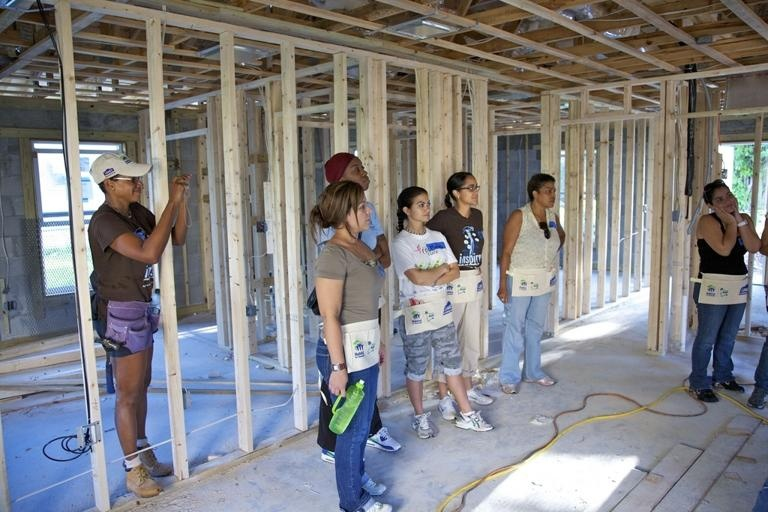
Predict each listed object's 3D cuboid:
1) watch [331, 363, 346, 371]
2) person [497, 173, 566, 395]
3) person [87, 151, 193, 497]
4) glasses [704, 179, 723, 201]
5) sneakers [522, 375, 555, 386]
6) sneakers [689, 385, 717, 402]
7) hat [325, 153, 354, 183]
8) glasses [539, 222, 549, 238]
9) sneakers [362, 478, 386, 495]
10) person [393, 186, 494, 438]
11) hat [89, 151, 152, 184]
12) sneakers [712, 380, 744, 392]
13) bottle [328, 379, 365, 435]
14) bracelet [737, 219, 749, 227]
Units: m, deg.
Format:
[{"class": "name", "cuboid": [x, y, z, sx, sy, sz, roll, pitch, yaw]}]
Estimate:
[{"class": "watch", "cuboid": [-0.306, 0.723, 3.545, 0.074, 0.042, 0.070, -4, -4, 5]}, {"class": "person", "cuboid": [1.469, 0.264, 5.433, 0.848, 2.145, 0.435, -13, 17, -34]}, {"class": "person", "cuboid": [-1.846, 0.494, 4.158, 0.619, 2.539, 0.758, 11, 20, 43]}, {"class": "glasses", "cuboid": [3.105, -0.611, 5.107, 0.169, 0.209, 0.246, 5, 15, 29]}, {"class": "sneakers", "cuboid": [1.593, 1.277, 5.626, 0.273, 0.069, 0.106, -2, 2, 20]}, {"class": "sneakers", "cuboid": [3.078, 1.319, 5.223, 0.111, 0.074, 0.201, -9, 7, -44]}, {"class": "hat", "cuboid": [-0.356, -0.714, 4.378, 0.248, 0.230, 0.196, -6, 14, -15]}, {"class": "glasses", "cuboid": [1.584, -0.265, 5.399, 0.100, 0.150, 0.039, -3, -11, -7]}, {"class": "sneakers", "cuboid": [-0.087, 1.727, 4.078, 0.210, 0.074, 0.085, 0, 9, 13]}, {"class": "person", "cuboid": [0.436, 0.487, 4.662, 0.716, 2.142, 0.460, -2, 14, 2]}, {"class": "hat", "cuboid": [-1.961, -0.655, 4.001, 0.430, 0.219, 0.185, 0, 14, 11]}, {"class": "sneakers", "cuboid": [3.442, 1.295, 5.457, 0.323, 0.125, 0.107, 2, 3, 29]}, {"class": "bottle", "cuboid": [-0.246, 1.019, 3.618, 0.268, 0.349, 0.158, -6, 15, -13]}, {"class": "bracelet", "cuboid": [3.307, -0.311, 4.999, 0.071, 0.017, 0.070, -12, 6, 21]}]
